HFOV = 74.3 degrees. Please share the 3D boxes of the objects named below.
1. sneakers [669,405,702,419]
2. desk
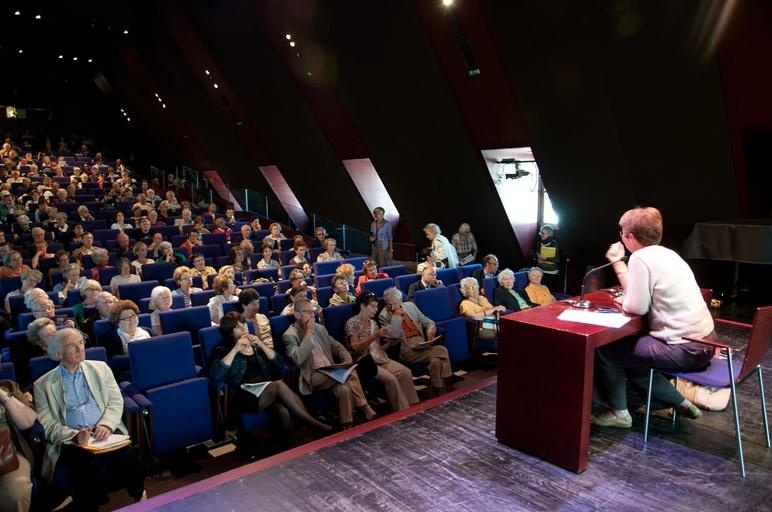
[{"bbox_3d":[2.681,1.388,4.544,0.336,0.127,0.151,1,-9,1],"label":"sneakers"},{"bbox_3d":[1.409,1.076,4.248,1.075,1.114,0.477,-10,4,35],"label":"desk"}]
